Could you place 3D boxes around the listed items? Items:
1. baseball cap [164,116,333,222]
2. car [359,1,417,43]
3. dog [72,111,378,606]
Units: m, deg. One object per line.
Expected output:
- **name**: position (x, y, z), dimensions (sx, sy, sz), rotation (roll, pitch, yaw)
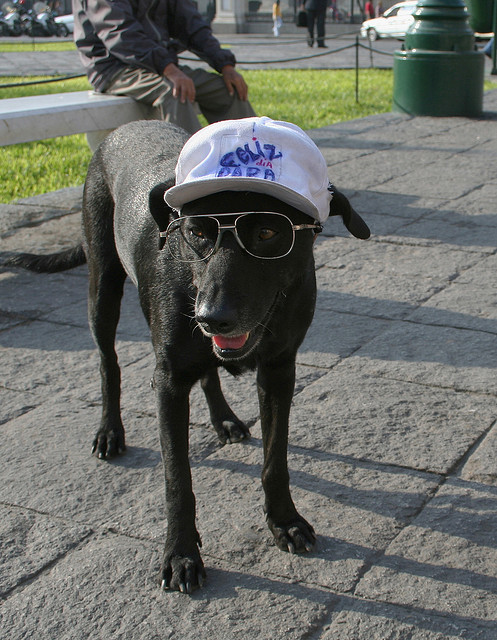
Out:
- **baseball cap**: position (0.004, -0.393, 1.901), dimensions (0.435, 0.236, 0.511), rotation (-2, 13, 2)
- **car**: position (5.291, -11.286, 27.672), dimensions (1.804, 1.487, 2.102), rotation (1, 17, 8)
- **dog**: position (-0.220, -0.114, 2.750), dimensions (0.928, 1.216, 2.179), rotation (-6, 17, -13)
